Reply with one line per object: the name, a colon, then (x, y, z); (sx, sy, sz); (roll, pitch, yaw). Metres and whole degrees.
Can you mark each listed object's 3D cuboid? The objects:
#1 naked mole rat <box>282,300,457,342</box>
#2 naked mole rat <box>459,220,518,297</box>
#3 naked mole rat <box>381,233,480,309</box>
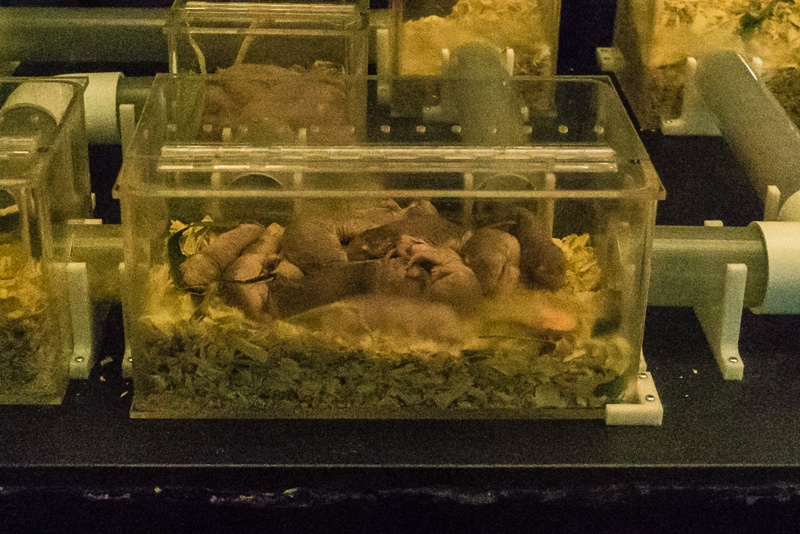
naked mole rat: (-0.103, 0.226, 3.802); (0.779, 0.206, 0.096); (1, 42, 1)
naked mole rat: (0.425, -0.030, 3.810); (0.215, 0.274, 0.287); (-11, -15, 43)
naked mole rat: (0.165, 0.024, 3.779); (0.422, 0.192, 0.219); (24, 47, 24)
